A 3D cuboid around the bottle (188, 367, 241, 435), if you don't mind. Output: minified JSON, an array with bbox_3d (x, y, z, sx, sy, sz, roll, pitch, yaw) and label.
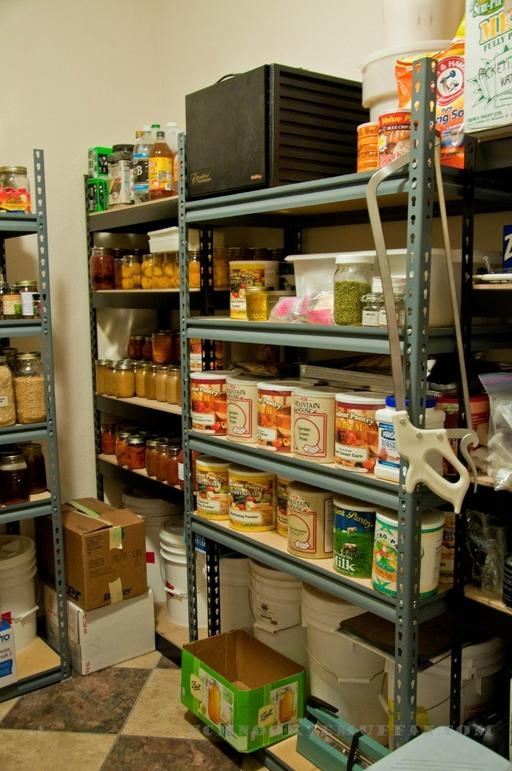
[{"bbox_3d":[-0.133,0.040,1.894,0.159,0.181,0.163,6,12,30],"label":"bottle"}]

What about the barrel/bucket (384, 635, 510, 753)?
[{"bbox_3d":[0.467,0.678,1.613,0.271,0.400,0.277,0,10,0],"label":"barrel/bucket"}]

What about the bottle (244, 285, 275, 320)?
[{"bbox_3d":[0.008,-0.212,1.623,0.077,0.087,0.077,6,9,35],"label":"bottle"}]

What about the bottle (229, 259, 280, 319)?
[{"bbox_3d":[-0.017,-0.263,1.737,0.152,0.177,0.157,0,5,-4],"label":"bottle"}]

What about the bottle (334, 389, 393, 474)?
[{"bbox_3d":[0.211,0.095,1.311,0.134,0.158,0.142,-1,8,-8],"label":"bottle"}]

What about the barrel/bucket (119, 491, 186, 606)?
[{"bbox_3d":[-0.407,0.676,2.789,0.377,0.424,0.379,-1,5,0],"label":"barrel/bucket"}]

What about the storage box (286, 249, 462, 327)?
[{"bbox_3d":[0.247,-0.236,1.326,0.207,0.108,0.297,-6,11,-37],"label":"storage box"}]

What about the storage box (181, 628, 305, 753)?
[{"bbox_3d":[-0.034,0.853,1.770,0.235,0.175,0.325,-1,1,-34],"label":"storage box"}]

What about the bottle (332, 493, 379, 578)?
[{"bbox_3d":[0.216,0.340,1.426,0.131,0.152,0.136,3,6,5],"label":"bottle"}]

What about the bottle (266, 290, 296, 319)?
[{"bbox_3d":[0.066,-0.199,1.589,0.020,0.078,0.073,9,4,-42],"label":"bottle"}]

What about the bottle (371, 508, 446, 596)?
[{"bbox_3d":[0.289,0.320,1.270,0.149,0.171,0.153,0,5,-3],"label":"bottle"}]

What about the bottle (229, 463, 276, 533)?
[{"bbox_3d":[-0.012,0.323,1.794,0.151,0.172,0.154,0,3,-2],"label":"bottle"}]

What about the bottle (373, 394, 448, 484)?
[{"bbox_3d":[0.308,0.105,1.235,0.142,0.168,0.131,-1,4,0],"label":"bottle"}]

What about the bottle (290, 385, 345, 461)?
[{"bbox_3d":[0.147,0.081,1.511,0.140,0.160,0.143,9,13,43],"label":"bottle"}]

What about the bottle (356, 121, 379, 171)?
[{"bbox_3d":[0.228,-0.481,1.261,0.040,0.117,0.101,-1,4,10],"label":"bottle"}]

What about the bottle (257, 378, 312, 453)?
[{"bbox_3d":[0.050,0.065,1.560,0.151,0.171,0.151,-4,9,-24],"label":"bottle"}]

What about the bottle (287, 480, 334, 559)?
[{"bbox_3d":[0.130,0.333,1.585,0.140,0.161,0.144,5,9,23],"label":"bottle"}]

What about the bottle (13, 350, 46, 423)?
[{"bbox_3d":[-0.725,0.009,1.989,0.095,0.226,0.060,-2,4,-20],"label":"bottle"}]

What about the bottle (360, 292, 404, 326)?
[{"bbox_3d":[0.249,-0.148,1.223,0.036,0.070,0.150,-2,4,-15],"label":"bottle"}]

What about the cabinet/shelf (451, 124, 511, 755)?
[{"bbox_3d":[0.460,0.145,1.288,0.107,1.248,0.338,0,4,17],"label":"cabinet/shelf"}]

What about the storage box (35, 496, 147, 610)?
[{"bbox_3d":[-0.631,0.605,2.360,0.248,0.312,0.457,-4,6,-40],"label":"storage box"}]

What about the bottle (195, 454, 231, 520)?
[{"bbox_3d":[-0.126,0.306,1.913,0.150,0.171,0.154,1,13,-4],"label":"bottle"}]
